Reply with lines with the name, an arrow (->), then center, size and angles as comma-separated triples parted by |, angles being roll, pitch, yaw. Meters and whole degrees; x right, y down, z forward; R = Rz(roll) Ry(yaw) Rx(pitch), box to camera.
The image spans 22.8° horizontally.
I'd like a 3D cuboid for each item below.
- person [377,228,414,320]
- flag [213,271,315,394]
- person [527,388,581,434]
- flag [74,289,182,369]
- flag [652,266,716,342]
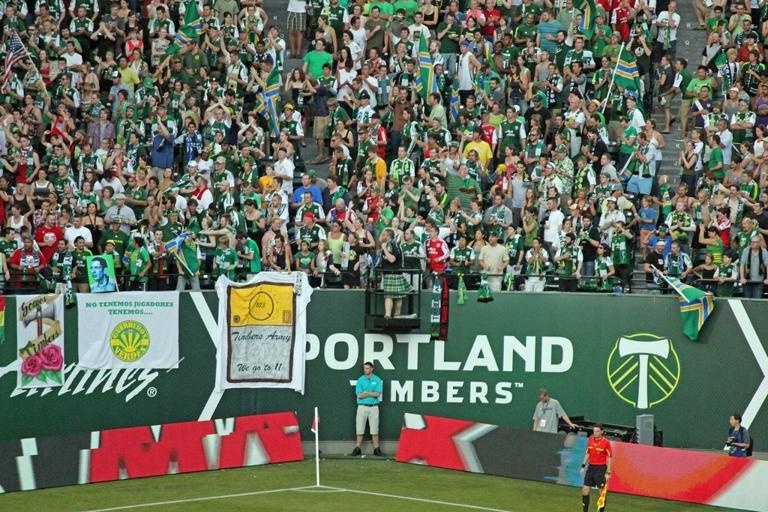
person -> 0.325, 0.609, 61.365 | 0.871, 0.647, 3.037 | 0, 90, 1
flag -> -3.971, 2.501, 61.949 | 3.496, 0.498, 4.594 | 1, 88, -8
person -> 5.266, 5.030, 60.412 | 1.120, 1.450, 0.872 | 2, 25, -3
flag -> -8.109, 2.405, 61.023 | 3.111, 2.206, 1.707 | -9, 47, -3
flag -> 9.566, 1.547, 61.324 | 1.895, 1.063, 2.001 | 36, 42, 16
